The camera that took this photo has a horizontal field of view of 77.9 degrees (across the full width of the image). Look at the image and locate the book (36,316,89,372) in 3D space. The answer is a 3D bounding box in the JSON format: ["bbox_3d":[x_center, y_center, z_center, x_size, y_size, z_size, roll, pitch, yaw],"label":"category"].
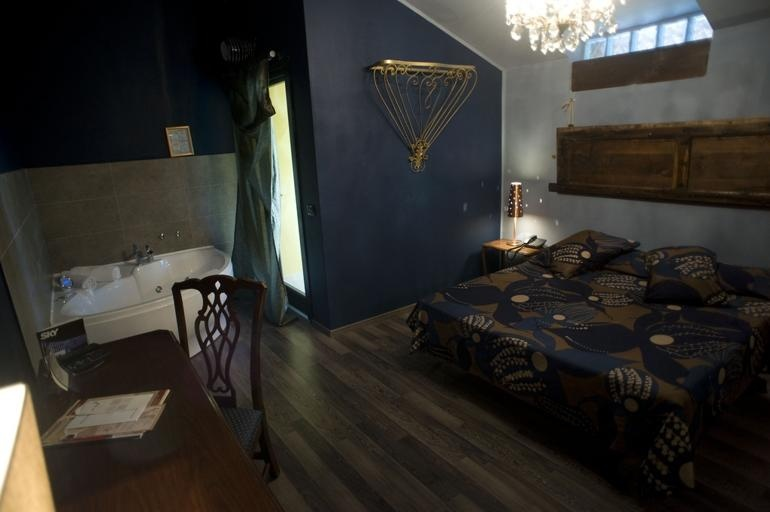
[{"bbox_3d":[-1.843,0.515,2.717,0.035,0.319,0.334,-5,-7,34],"label":"book"}]

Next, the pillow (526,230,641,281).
[{"bbox_3d":[1.874,-0.045,4.359,0.706,0.130,0.449,-23,28,-21],"label":"pillow"}]

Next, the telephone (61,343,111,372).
[{"bbox_3d":[-1.675,0.576,2.670,0.135,0.036,0.138,14,21,33],"label":"telephone"}]

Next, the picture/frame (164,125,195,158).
[{"bbox_3d":[-2.075,-1.163,4.787,0.263,0.345,0.022,-17,22,-41],"label":"picture/frame"}]

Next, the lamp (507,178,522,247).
[{"bbox_3d":[1.424,-0.478,5.162,0.153,0.641,0.411,0,13,17],"label":"lamp"}]

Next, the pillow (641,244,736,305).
[{"bbox_3d":[2.342,0.157,3.723,0.417,0.183,0.649,-3,35,35],"label":"pillow"}]

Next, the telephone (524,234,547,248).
[{"bbox_3d":[1.617,-0.144,5.025,0.150,0.045,0.159,-30,38,-32],"label":"telephone"}]

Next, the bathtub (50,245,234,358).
[{"bbox_3d":[-2.175,0.315,4.370,1.003,0.591,1.314,16,22,36],"label":"bathtub"}]
